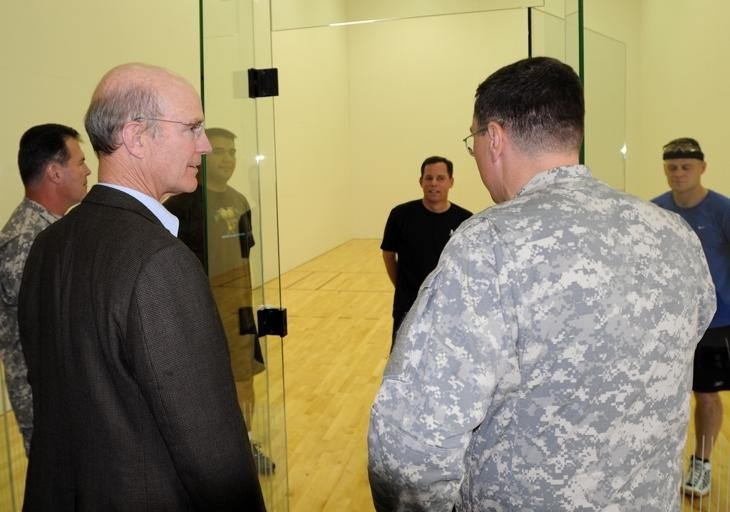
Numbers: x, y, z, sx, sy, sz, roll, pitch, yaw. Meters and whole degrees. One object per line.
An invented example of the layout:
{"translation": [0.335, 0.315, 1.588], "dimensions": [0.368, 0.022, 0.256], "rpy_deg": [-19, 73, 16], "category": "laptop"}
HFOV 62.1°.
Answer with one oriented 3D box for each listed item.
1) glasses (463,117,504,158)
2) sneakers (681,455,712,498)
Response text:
{"translation": [0.247, -0.221, 1.266], "dimensions": [0.027, 0.097, 0.091], "rpy_deg": [-3, -16, -21], "category": "glasses"}
{"translation": [1.270, 0.845, 2.320], "dimensions": [0.072, 0.095, 0.216], "rpy_deg": [-12, 15, 36], "category": "sneakers"}
